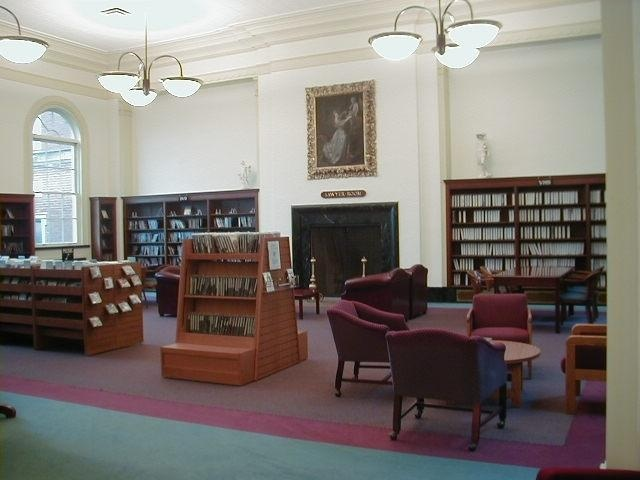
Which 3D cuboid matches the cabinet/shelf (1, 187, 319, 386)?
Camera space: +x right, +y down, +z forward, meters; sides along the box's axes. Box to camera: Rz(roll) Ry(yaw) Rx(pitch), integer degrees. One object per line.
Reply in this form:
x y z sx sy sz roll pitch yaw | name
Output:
-1.848 0.909 7.225 2.883 1.898 2.902 0 2 20 | cabinet/shelf

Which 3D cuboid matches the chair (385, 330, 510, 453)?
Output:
1.185 1.130 4.664 1.169 1.256 1.020 1 4 28 | chair

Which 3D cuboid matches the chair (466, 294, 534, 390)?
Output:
2.304 1.182 6.306 0.940 1.230 0.918 -1 -3 16 | chair

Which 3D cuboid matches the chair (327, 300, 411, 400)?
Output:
0.660 1.188 5.906 0.971 1.134 1.032 -1 0 12 | chair

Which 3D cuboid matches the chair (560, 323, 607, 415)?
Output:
2.715 1.301 5.128 0.410 0.763 0.742 0 3 27 | chair
